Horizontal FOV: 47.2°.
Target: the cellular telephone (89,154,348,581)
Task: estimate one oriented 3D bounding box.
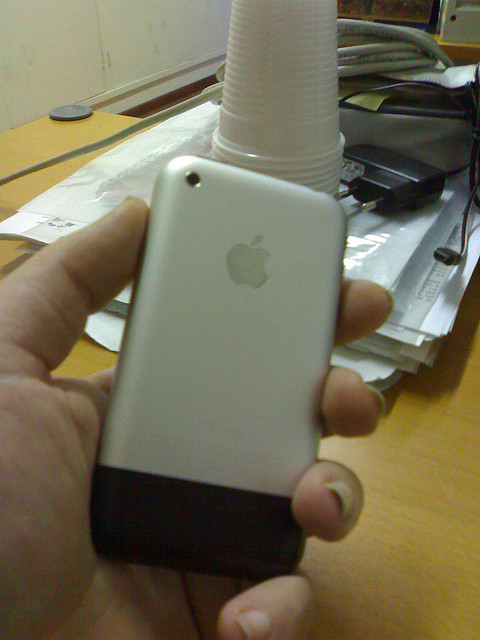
[{"bbox_3d":[-0.008,0.018,0.303,0.112,0.151,0.190,8,43,10],"label":"cellular telephone"}]
